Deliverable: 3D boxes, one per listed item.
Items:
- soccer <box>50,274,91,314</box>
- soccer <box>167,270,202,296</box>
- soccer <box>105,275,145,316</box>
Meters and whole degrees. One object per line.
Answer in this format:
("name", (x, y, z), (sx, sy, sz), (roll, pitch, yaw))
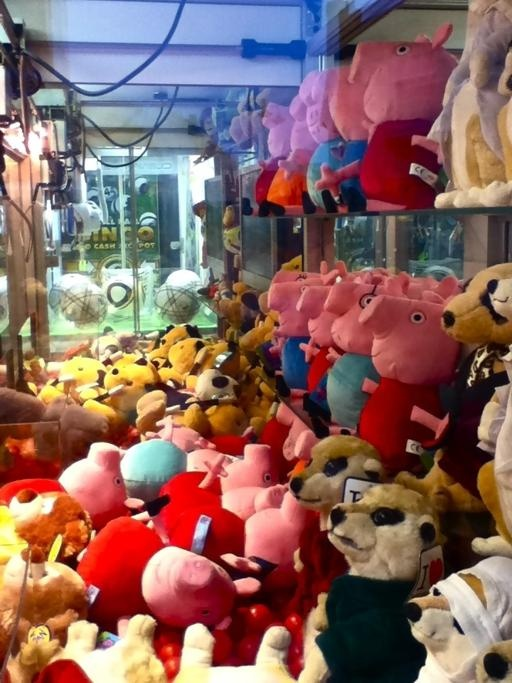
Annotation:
("soccer", (-0.956, -0.224, 2.794), (0.270, 0.270, 0.252), (-1, 5, -18))
("soccer", (-0.335, -0.276, 2.478), (0.140, 0.074, 0.108), (3, 0, -12))
("soccer", (-0.663, -0.239, 2.651), (0.246, 0.208, 0.181), (-3, 8, -39))
